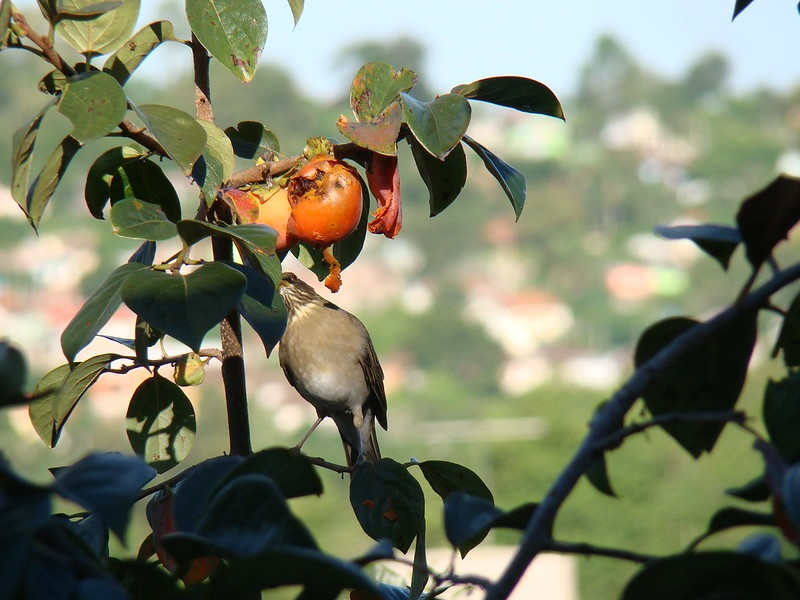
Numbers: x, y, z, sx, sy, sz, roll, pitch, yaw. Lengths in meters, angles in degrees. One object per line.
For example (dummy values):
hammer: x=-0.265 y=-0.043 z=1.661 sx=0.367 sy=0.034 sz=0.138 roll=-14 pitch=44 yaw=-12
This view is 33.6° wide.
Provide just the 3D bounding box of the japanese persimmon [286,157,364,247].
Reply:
japanese persimmon: x=-0.169 y=-0.216 z=2.802 sx=0.153 sy=0.214 sz=0.163 roll=2 pitch=7 yaw=-21

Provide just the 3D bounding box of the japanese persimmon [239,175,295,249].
japanese persimmon: x=-0.284 y=-0.189 z=2.804 sx=0.088 sy=0.147 sz=0.081 roll=-7 pitch=8 yaw=-30

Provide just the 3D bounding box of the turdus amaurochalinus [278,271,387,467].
turdus amaurochalinus: x=-0.195 y=0.174 z=3.843 sx=0.309 sy=0.619 sz=0.281 roll=1 pitch=3 yaw=44
